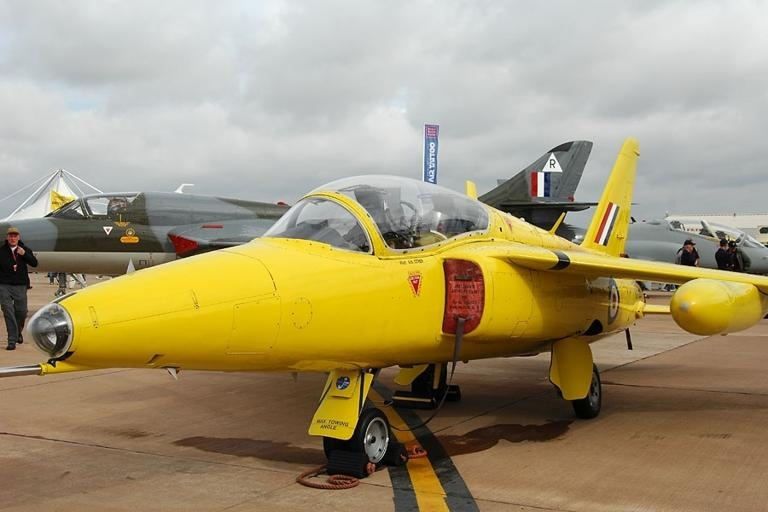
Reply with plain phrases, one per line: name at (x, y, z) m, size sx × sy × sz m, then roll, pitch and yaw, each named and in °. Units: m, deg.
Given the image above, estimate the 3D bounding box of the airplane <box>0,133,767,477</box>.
airplane at (0.007, 0.403, 6.320) m, size 6.753 × 1.742 × 6.775 m, roll 0°, pitch -2°, yaw -42°

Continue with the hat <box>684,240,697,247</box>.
hat at (11.519, -0.490, 20.543) m, size 0.572 × 0.164 × 0.638 m, roll 3°, pitch 6°, yaw 14°
